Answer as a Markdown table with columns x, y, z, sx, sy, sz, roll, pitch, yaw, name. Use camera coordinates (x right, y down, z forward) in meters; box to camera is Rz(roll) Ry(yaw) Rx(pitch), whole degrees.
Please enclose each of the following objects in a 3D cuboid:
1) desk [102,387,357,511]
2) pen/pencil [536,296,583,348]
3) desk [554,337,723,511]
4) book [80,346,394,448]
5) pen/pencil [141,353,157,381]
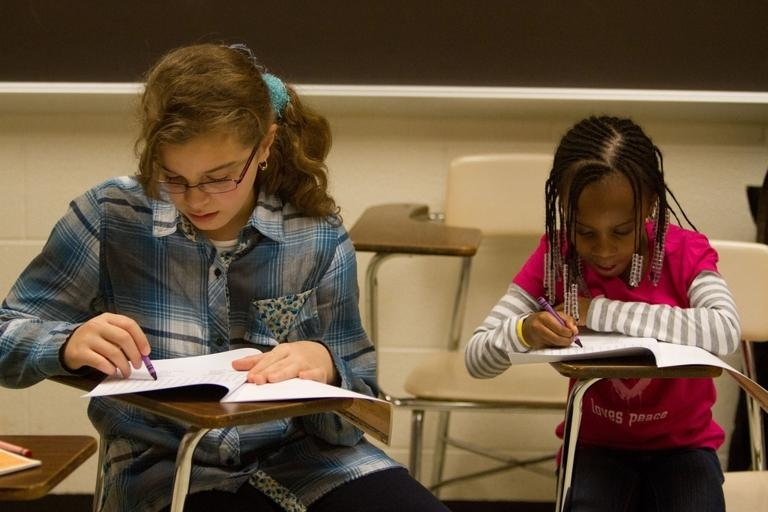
| x | y | z | sx | sy | sz | roll | pitch | yaw | name |
| --- | --- | --- | --- | --- | --- | --- | --- | --- | --- |
| -0.263 | 0.278 | 1.152 | 0.264 | 0.187 | 0.268 | 2 | -1 | -35 | desk |
| 0.378 | 0.145 | 1.446 | 0.020 | 0.132 | 0.019 | -33 | -18 | -45 | pen/pencil |
| 0.415 | 0.292 | 1.317 | 0.358 | 0.303 | 0.290 | -1 | 5 | -5 | desk |
| -0.231 | 0.230 | 1.229 | 0.306 | 0.066 | 0.292 | -3 | 7 | -24 | book |
| -0.442 | 0.208 | 1.258 | 0.009 | 0.050 | 0.007 | -30 | -19 | 8 | pen/pencil |
